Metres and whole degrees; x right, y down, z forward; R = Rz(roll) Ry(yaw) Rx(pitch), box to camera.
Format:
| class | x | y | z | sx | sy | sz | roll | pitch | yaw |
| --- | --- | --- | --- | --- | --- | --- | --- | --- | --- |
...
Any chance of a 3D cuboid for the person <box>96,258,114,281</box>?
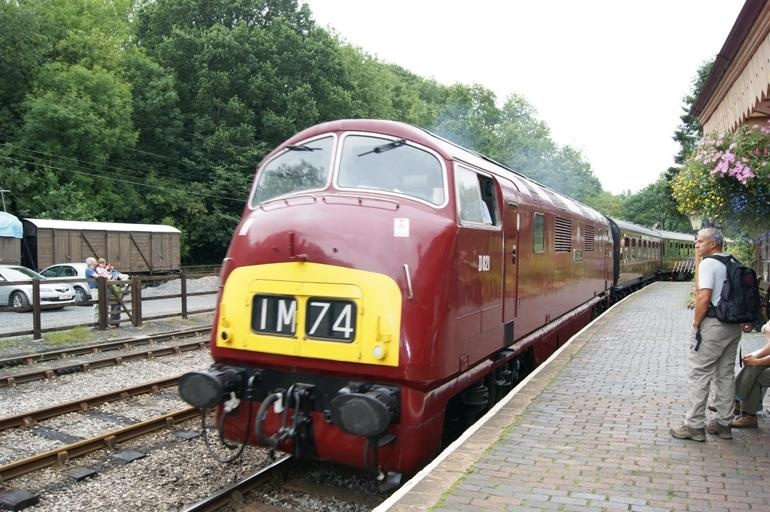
| class | x | y | z | sx | sy | sz | roll | pitch | yaw |
| --- | --- | --- | --- | --- | --- | --- | --- | --- | --- |
| person | -9.527 | 0.448 | 17.231 | 0.624 | 0.739 | 1.052 | -4 | -4 | -34 |

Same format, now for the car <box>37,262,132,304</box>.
| class | x | y | z | sx | sy | sz | roll | pitch | yaw |
| --- | --- | --- | --- | --- | --- | --- | --- | --- | --- |
| car | -11.005 | 0.997 | 18.347 | 3.304 | 1.067 | 1.553 | 4 | 4 | 22 |

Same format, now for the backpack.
| class | x | y | z | sx | sy | sz | roll | pitch | yaw |
| --- | --- | --- | --- | --- | --- | --- | --- | --- | --- |
| backpack | 4.302 | 0.408 | 6.198 | 0.656 | 0.848 | 0.250 | -1 | 3 | 3 |
